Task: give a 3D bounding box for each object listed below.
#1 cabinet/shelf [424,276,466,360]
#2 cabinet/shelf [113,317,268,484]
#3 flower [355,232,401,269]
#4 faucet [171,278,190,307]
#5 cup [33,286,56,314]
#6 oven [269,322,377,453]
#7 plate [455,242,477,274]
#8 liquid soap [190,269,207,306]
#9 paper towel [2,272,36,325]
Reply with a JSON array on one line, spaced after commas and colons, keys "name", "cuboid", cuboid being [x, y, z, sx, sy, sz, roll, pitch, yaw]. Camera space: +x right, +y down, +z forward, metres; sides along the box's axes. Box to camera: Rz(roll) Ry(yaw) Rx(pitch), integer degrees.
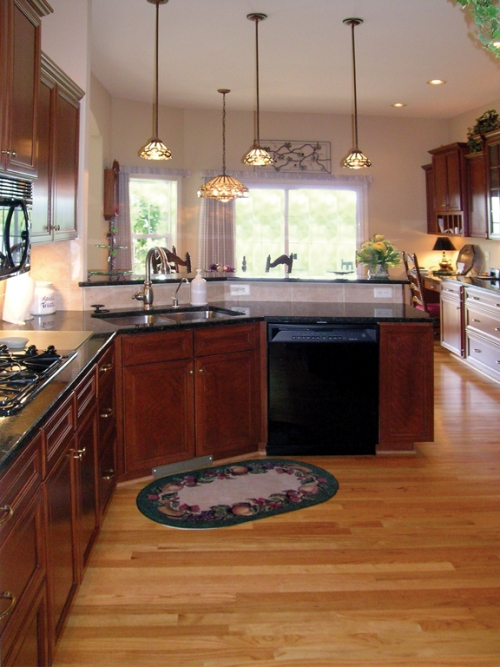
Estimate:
[{"name": "cabinet/shelf", "cuboid": [2.095, -0.167, 6.001, 0.530, 0.856, 0.953, 1, 8, 9]}, {"name": "cabinet/shelf", "cuboid": [-0.350, 0.363, 3.028, 0.884, 0.696, 0.344, -4, 5, -32]}, {"name": "flower", "cuboid": [0.881, -0.610, 3.936, 0.304, 0.207, 0.294, 2, -5, -7]}, {"name": "faucet", "cuboid": [-0.451, -0.254, 3.572, 0.110, 0.166, 0.337, 0, 10, -2]}, {"name": "cup", "cuboid": [-1.113, -0.174, 3.087, 0.127, 0.128, 0.139, 0, 0, 0]}, {"name": "oven", "cuboid": [0.427, 0.285, 3.306, 0.725, 0.813, 0.450, 0, 6, 1]}, {"name": "plate", "cuboid": [2.691, -0.920, 7.010, 0.226, 0.366, 0.700, 4, 10, 20]}, {"name": "liquid soap", "cuboid": [-0.340, -0.290, 3.618, 0.093, 0.218, 0.129, -5, 11, -30]}, {"name": "paper towel", "cuboid": [-1.156, -0.169, 2.784, 0.166, 0.241, 0.345, -3, 10, -21]}]
